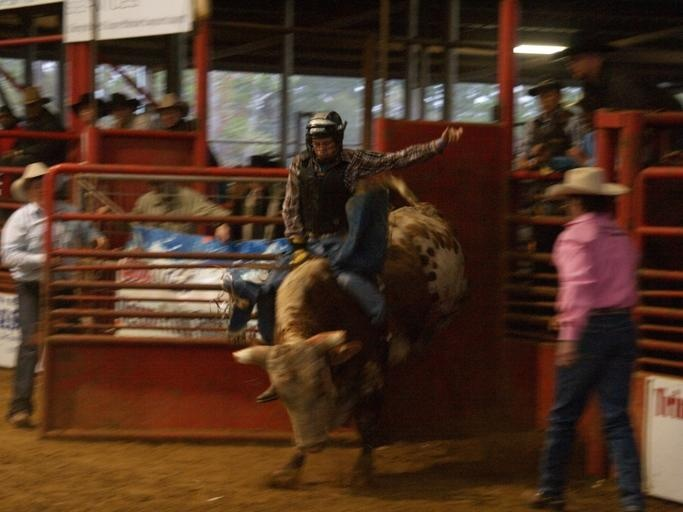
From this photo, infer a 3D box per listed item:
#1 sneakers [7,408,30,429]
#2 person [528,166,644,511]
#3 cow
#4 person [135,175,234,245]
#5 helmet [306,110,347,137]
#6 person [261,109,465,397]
[{"bbox_3d":[-2.632,1.320,6.765,0.181,0.101,0.234,-5,12,-19],"label":"sneakers"},{"bbox_3d":[1.510,0.542,4.975,0.639,2.095,0.679,2,14,12],"label":"person"},{"bbox_3d":[0.117,0.507,5.907,0.668,2.050,2.042,6,14,26],"label":"cow"},{"bbox_3d":[-1.326,-0.367,6.900,0.838,0.318,0.200,1,35,25],"label":"person"},{"bbox_3d":[-0.111,-0.919,5.762,0.207,0.147,0.234,1,5,25],"label":"helmet"},{"bbox_3d":[0.089,-0.289,6.130,1.608,1.896,0.755,14,-21,9],"label":"person"}]
